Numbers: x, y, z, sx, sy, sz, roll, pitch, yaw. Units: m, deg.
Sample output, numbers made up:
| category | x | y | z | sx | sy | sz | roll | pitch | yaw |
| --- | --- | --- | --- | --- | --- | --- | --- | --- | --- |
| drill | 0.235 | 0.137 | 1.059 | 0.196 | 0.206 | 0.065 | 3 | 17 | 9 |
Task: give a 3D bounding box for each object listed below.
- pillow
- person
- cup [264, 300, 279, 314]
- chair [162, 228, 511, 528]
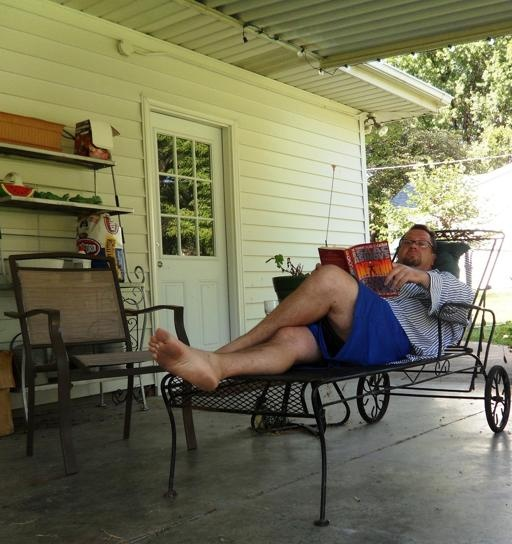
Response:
| category | x | y | z | sx | sy | sz | roll | pitch | yaw |
| --- | --- | --- | --- | --- | --- | --- | --- | --- | --- |
| pillow | 1.006 | -0.075 | 2.871 | 0.413 | 0.334 | 0.118 | 1 | -13 | 7 |
| person | 0.287 | 0.130 | 2.076 | 1.376 | 0.512 | 0.559 | 3 | -11 | -33 |
| cup | 0.116 | 0.310 | 4.455 | 0.155 | 0.125 | 0.130 | 0 | 1 | -1 |
| chair | 0.392 | 0.343 | 2.396 | 2.037 | 0.957 | 0.960 | 5 | -8 | -42 |
